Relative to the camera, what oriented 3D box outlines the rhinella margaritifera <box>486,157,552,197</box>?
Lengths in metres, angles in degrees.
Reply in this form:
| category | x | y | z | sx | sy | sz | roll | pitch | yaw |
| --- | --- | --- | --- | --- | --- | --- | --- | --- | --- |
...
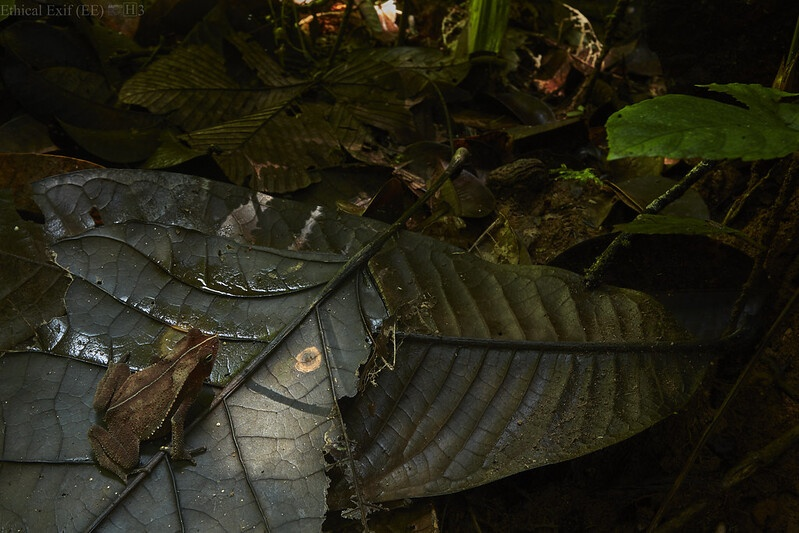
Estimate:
| category | x | y | z | sx | sy | sz | roll | pitch | yaw |
| --- | --- | --- | --- | --- | --- | --- | --- | --- | --- |
| rhinella margaritifera | 0.547 | -0.400 | 4.115 | 0.258 | 0.154 | 0.099 | -13 | 28 | 1 |
